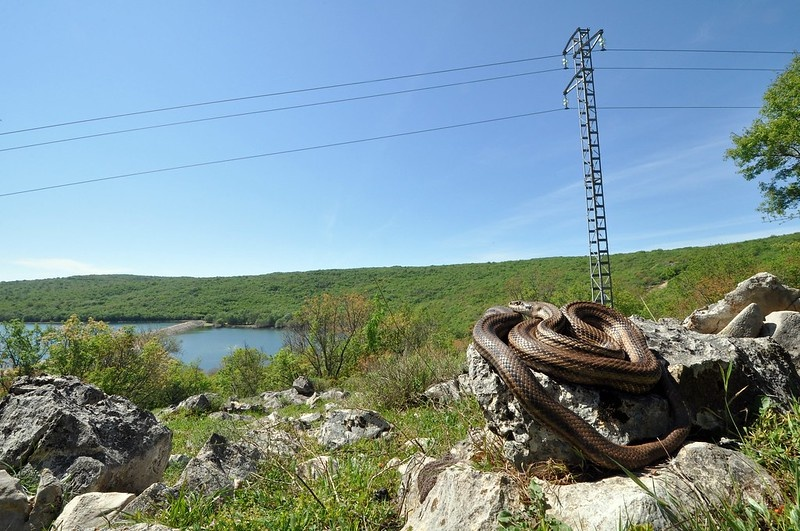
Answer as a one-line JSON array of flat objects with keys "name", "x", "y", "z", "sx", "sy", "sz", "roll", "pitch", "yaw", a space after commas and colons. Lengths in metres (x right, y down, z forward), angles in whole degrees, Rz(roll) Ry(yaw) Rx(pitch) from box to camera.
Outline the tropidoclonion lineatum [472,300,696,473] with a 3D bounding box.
[{"name": "tropidoclonion lineatum", "x": 2.858, "y": 1.868, "z": 8.425, "sx": 2.999, "sy": 2.577, "sz": 1.686, "roll": -8, "pitch": -8, "yaw": 5}]
